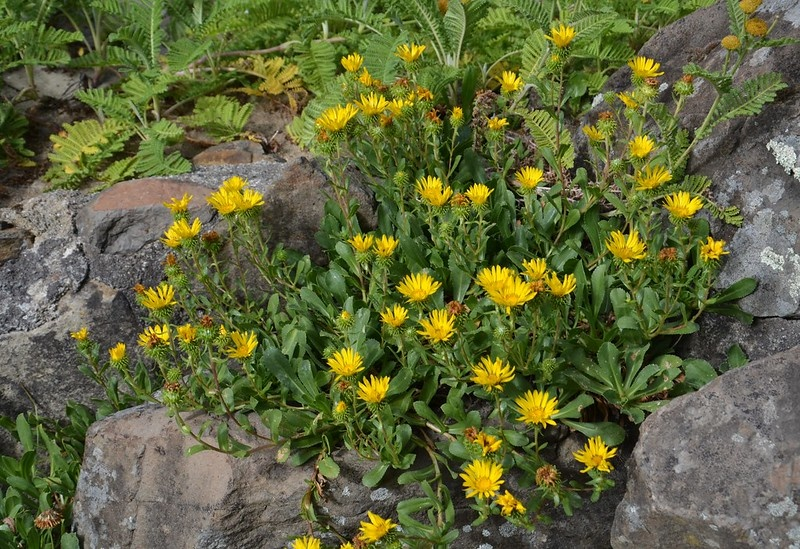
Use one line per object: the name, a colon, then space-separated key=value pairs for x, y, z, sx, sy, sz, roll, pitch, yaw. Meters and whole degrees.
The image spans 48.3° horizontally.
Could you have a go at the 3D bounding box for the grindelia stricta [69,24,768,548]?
grindelia stricta: x=0.213 y=0.256 z=4.559 sx=2.276 sy=1.408 sz=3.458 roll=3 pitch=52 yaw=18
